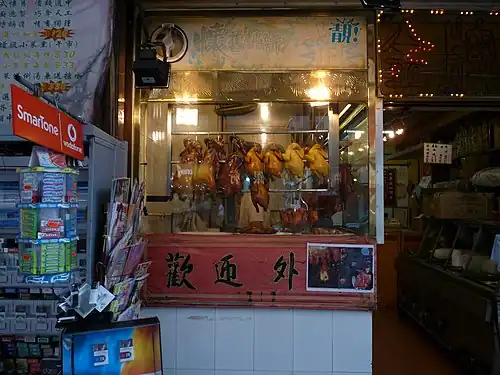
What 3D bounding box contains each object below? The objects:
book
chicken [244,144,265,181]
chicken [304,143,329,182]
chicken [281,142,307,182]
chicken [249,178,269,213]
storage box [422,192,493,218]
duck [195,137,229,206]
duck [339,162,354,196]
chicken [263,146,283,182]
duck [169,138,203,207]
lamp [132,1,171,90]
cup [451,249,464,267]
[{"bbox_3d":[-1.183,0.598,5.043,0.236,1.333,0.538,-2,0,24],"label":"book"},{"bbox_3d":[0.055,-0.291,5.784,0.201,0.365,0.080,-2,0,-16],"label":"chicken"},{"bbox_3d":[0.801,-0.297,5.775,0.298,0.170,0.475,-5,-33,28],"label":"chicken"},{"bbox_3d":[0.496,-0.273,5.741,0.219,0.399,0.121,-9,-5,-7],"label":"chicken"},{"bbox_3d":[0.109,0.078,5.718,0.190,0.376,0.107,2,0,3],"label":"chicken"},{"bbox_3d":[2.769,0.265,7.162,0.491,0.273,0.442,17,4,6],"label":"storage box"},{"bbox_3d":[-0.429,-0.188,5.871,0.350,0.648,0.175,-13,-12,19],"label":"duck"},{"bbox_3d":[1.053,-0.083,5.809,0.191,0.340,0.219,-2,3,-3],"label":"duck"},{"bbox_3d":[0.262,-0.259,5.760,0.175,0.358,0.111,-3,-5,3],"label":"chicken"},{"bbox_3d":[-0.707,-0.170,5.804,0.255,0.761,0.193,8,3,5],"label":"duck"},{"bbox_3d":[-1.050,-1.508,5.620,0.401,0.873,0.524,-2,0,-10],"label":"lamp"},{"bbox_3d":[2.712,0.923,6.867,0.168,0.322,0.184,1,-5,0],"label":"cup"}]
